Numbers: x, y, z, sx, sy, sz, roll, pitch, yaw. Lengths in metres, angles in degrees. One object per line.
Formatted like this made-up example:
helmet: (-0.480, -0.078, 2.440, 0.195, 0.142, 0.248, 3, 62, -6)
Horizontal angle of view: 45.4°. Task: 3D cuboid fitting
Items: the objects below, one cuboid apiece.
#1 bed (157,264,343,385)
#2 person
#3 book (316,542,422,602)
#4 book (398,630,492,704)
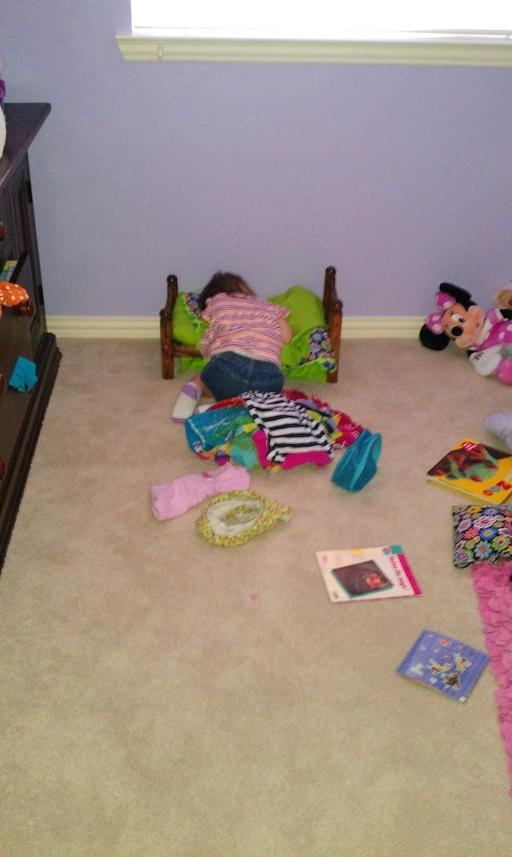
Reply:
bed: (-0.018, -0.426, 2.656, 0.646, 0.302, 0.542, 2, 77, -3)
person: (-0.051, -0.345, 2.522, 0.402, 0.279, 0.773, 5, 42, 15)
book: (0.315, 0.408, 1.735, 0.262, 0.026, 0.199, -3, 35, -7)
book: (0.453, 0.567, 1.471, 0.175, 0.022, 0.178, 21, 40, 26)
